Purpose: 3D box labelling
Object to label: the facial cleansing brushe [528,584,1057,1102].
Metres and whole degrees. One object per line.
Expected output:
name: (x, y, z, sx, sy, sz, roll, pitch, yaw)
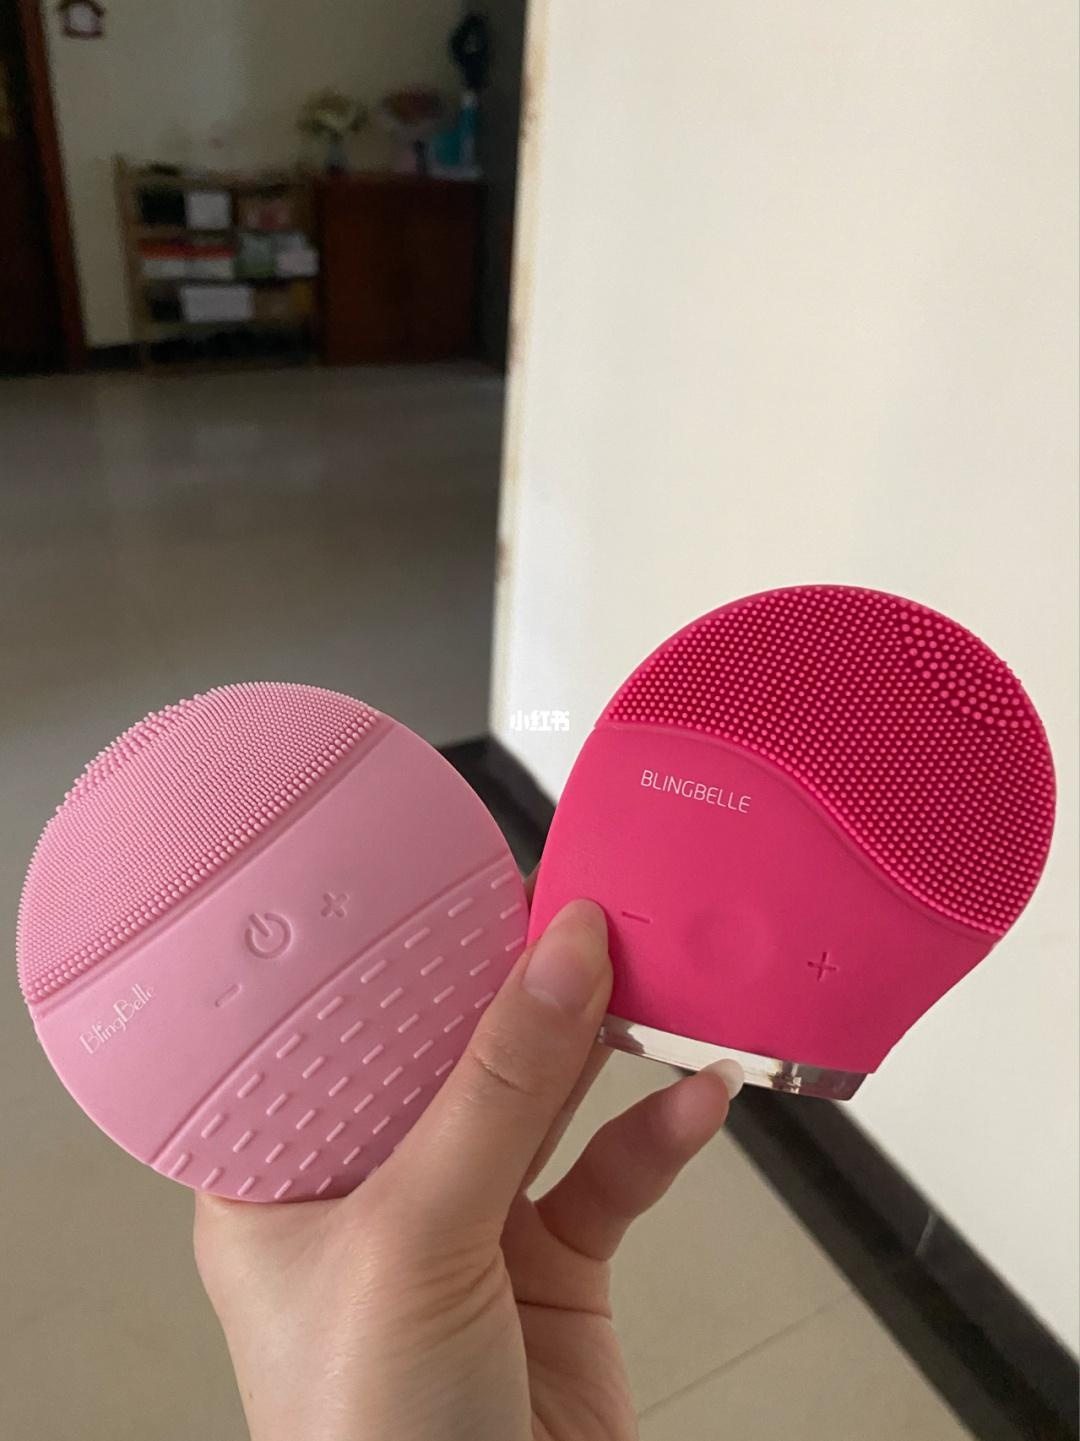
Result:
facial cleansing brushe: (0.111, 0.052, 0.572, 0.207, 0.211, 0.093, 12, 28, 22)
